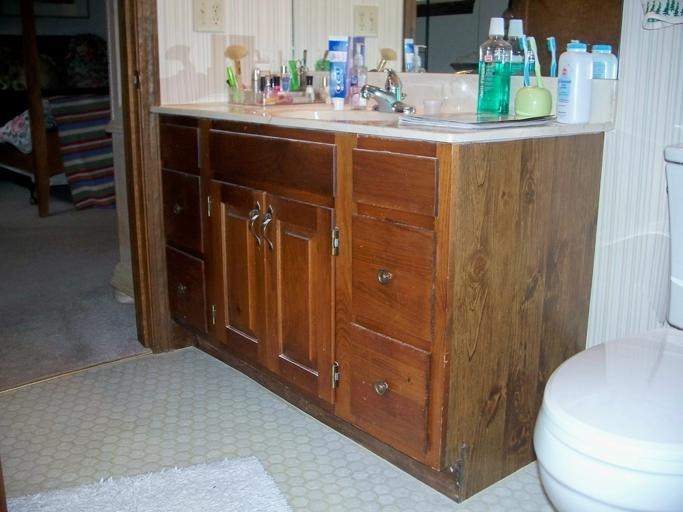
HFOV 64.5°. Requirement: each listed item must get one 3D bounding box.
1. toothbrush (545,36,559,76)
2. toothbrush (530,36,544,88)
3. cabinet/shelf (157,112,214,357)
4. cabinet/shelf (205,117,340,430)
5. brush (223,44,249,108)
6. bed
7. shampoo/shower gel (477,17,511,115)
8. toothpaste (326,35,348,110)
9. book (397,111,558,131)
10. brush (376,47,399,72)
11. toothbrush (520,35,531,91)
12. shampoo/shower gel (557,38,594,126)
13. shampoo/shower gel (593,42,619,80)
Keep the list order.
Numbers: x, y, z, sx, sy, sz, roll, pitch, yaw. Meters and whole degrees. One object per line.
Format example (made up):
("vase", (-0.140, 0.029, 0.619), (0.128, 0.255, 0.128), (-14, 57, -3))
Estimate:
("toothbrush", (0.606, -0.569, 1.547), (0.041, 0.111, 0.039), (0, 22, 1))
("toothbrush", (0.561, -0.563, 1.555), (0.020, 0.183, 0.020), (6, -12, -38))
("cabinet/shelf", (-0.597, -0.105, 2.044), (0.147, 0.817, 0.386), (-15, 26, -34))
("cabinet/shelf", (-0.097, -0.021, 1.859), (0.469, 0.864, 0.627), (-14, 23, -43))
("brush", (-0.422, -0.733, 2.170), (0.097, 0.216, 0.237), (-4, 22, -11))
("bed", (-2.554, -1.256, 4.734), (0.995, 1.283, 1.923), (-8, 23, -19))
("shampoo/shower gel", (0.444, -0.544, 1.553), (0.100, 0.254, 0.226), (5, 22, 12))
("toothpaste", (-0.014, -0.684, 1.993), (0.066, 0.227, 0.089), (-2, 22, -4))
("book", (0.341, -0.348, 1.379), (0.292, 0.025, 0.339), (15, 26, 34))
("brush", (0.165, -0.731, 2.012), (0.061, 0.094, 0.091), (-6, 37, -9))
("toothbrush", (0.534, -0.563, 1.558), (0.035, 0.134, 0.098), (7, 23, 17))
("shampoo/shower gel", (0.611, -0.450, 1.415), (0.088, 0.196, 0.102), (7, 23, 18))
("shampoo/shower gel", (0.721, -0.526, 1.473), (0.078, 0.086, 0.057), (4, 22, 9))
